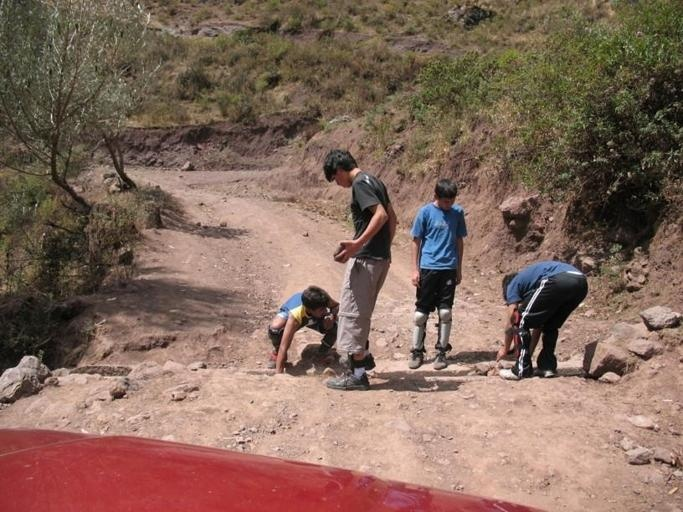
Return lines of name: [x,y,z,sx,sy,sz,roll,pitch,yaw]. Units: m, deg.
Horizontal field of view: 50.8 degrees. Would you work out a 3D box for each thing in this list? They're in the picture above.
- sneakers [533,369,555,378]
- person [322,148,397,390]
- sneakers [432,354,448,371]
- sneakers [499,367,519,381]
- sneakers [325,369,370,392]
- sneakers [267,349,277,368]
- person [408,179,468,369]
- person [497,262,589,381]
sneakers: [2.494,1.440,8.811,0.096,0.119,0.246,2,2,-38]
person: [0.202,0.195,8.678,0.774,2.861,0.753,3,13,7]
sneakers: [1.298,1.403,9.429,0.147,0.182,0.452,1,-9,11]
sneakers: [2.075,1.461,8.882,0.152,0.062,0.127,19,-16,3]
sneakers: [0.080,1.538,8.888,0.538,0.259,0.222,2,-3,3]
sneakers: [-0.933,1.412,9.698,0.090,0.189,0.281,3,-25,-2]
person: [1.243,0.252,9.435,0.657,2.478,0.653,4,14,13]
person: [2.469,0.814,8.806,0.910,1.429,0.516,5,14,15]
